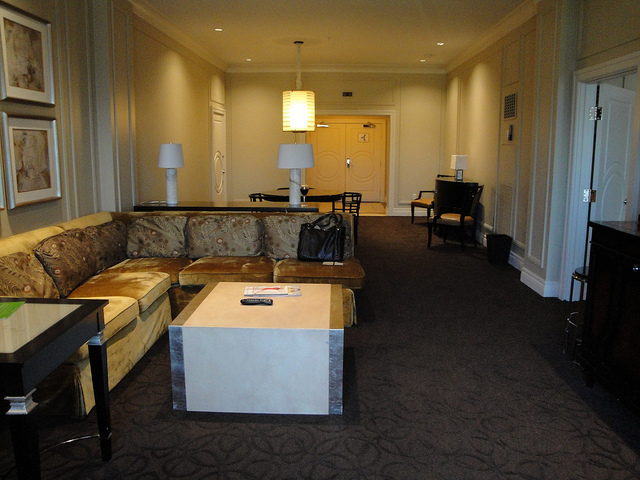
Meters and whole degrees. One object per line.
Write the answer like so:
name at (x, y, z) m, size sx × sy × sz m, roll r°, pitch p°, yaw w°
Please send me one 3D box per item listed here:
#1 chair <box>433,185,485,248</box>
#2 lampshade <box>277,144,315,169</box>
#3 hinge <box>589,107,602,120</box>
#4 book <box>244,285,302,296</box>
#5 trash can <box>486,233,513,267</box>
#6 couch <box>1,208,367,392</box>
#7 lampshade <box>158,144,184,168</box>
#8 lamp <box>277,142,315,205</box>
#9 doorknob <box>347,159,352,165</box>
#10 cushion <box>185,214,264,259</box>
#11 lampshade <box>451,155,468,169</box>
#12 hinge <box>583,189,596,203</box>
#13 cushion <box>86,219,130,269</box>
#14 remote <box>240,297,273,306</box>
chair at (2.175, -0.406, 7.301) m, size 0.750 × 0.896 × 0.650 m, roll 3°, pitch 10°, yaw 13°
lampshade at (-0.256, -0.877, 4.789) m, size 0.303 × 0.302 × 0.294 m, roll 2°, pitch 11°, yaw 14°
hinge at (2.703, -1.235, 4.378) m, size 0.125 × 0.112 × 0.030 m, roll 5°, pitch 4°, yaw 42°
book at (-0.353, 0.376, 3.355) m, size 0.415 × 0.021 × 0.250 m, roll -2°, pitch 13°, yaw -7°
trash can at (2.471, 0.142, 6.089) m, size 0.344 × 0.380 × 0.370 m, roll 0°, pitch 13°, yaw 1°
couch at (-1.016, 0.519, 4.088) m, size 2.027 × 0.626 × 1.564 m, roll 0°, pitch 11°, yaw -1°
lampshade at (-1.617, -0.906, 4.906) m, size 0.267 × 0.274 × 0.278 m, roll -4°, pitch 13°, yaw -22°
lamp at (-0.269, -0.723, 4.948) m, size 0.442 × 0.634 × 0.450 m, roll 7°, pitch 10°, yaw 41°
doorknob at (0.806, -2.086, 12.049) m, size 0.102 × 0.133 × 0.043 m, roll 1°, pitch 14°, yaw 3°
cushion at (-0.948, -0.025, 4.484) m, size 0.515 × 0.513 × 0.158 m, roll -4°, pitch -23°, yaw -4°
lampshade at (2.410, -1.332, 7.726) m, size 0.250 × 0.223 × 0.221 m, roll 6°, pitch 15°, yaw 22°
hinge at (2.713, -0.437, 4.481) m, size 0.121 × 0.128 × 0.027 m, roll 2°, pitch 14°, yaw 8°
cushion at (-1.924, 0.040, 4.095) m, size 0.113 × 0.356 × 0.365 m, roll -20°, pitch 8°, yaw 16°
remote at (-0.430, 0.421, 3.112) m, size 0.296 × 0.066 × 0.070 m, roll 2°, pitch 2°, yaw 3°
